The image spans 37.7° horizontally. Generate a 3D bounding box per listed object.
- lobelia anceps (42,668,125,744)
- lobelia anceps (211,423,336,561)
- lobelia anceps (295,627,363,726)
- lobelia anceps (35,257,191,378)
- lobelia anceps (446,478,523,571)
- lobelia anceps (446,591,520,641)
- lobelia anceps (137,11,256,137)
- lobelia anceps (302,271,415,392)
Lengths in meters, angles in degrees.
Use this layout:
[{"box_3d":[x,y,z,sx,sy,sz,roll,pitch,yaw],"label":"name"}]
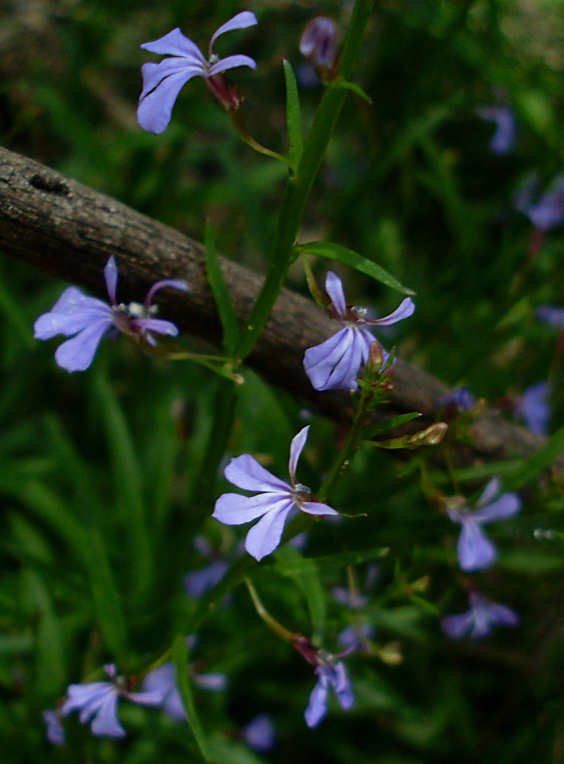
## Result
[{"box_3d":[-0.233,0.413,1.041,0.126,0.030,0.095,7,47,-34],"label":"lobelia anceps"},{"box_3d":[0.007,0.130,0.980,0.168,0.093,0.131,-20,36,19],"label":"lobelia anceps"},{"box_3d":[0.045,0.400,1.061,0.083,0.154,0.108,7,52,-5],"label":"lobelia anceps"},{"box_3d":[-0.229,-0.074,1.044,0.181,0.066,0.162,-1,52,-37],"label":"lobelia anceps"},{"box_3d":[0.242,0.170,1.028,0.077,0.099,0.127,19,51,4],"label":"lobelia anceps"},{"box_3d":[0.250,0.313,1.091,0.097,0.081,0.047,-7,55,-15],"label":"lobelia anceps"},{"box_3d":[-0.102,-0.390,0.995,0.132,0.103,0.195,2,51,-9],"label":"lobelia anceps"},{"box_3d":[0.079,-0.063,1.039,0.159,0.129,0.123,16,9,-15],"label":"lobelia anceps"}]
